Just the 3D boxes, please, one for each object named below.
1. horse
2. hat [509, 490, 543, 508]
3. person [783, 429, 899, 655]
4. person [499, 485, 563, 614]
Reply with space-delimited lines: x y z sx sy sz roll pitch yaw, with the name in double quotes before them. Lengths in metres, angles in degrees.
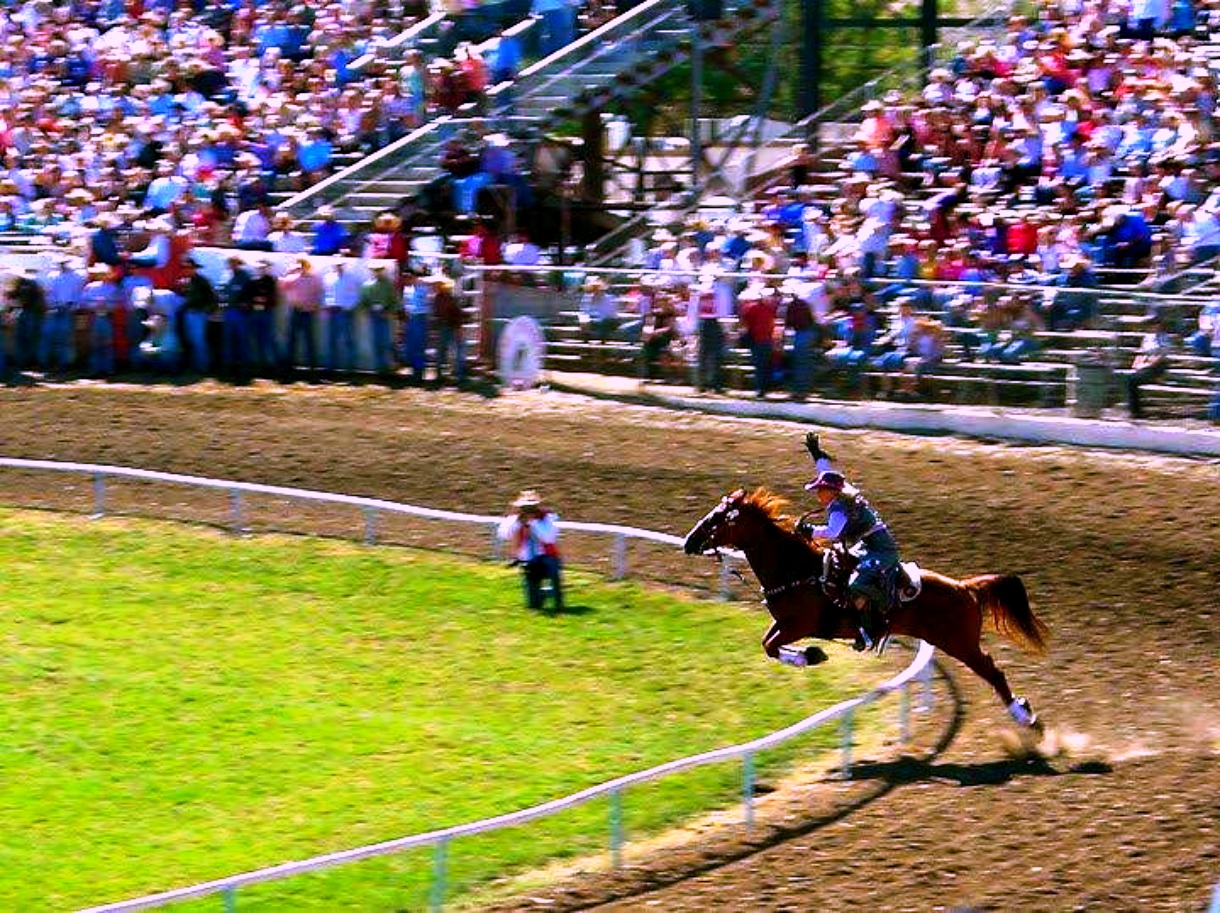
"horse" 1.935 1.206 17.536 3.903 1.451 0.667 9 -5 -30
"hat" -0.710 0.358 18.885 0.253 0.065 0.227 -6 0 10
"person" 1.863 0.669 17.012 0.826 1.667 0.368 6 8 8
"person" -0.675 0.812 18.973 0.628 1.006 0.419 5 8 5
